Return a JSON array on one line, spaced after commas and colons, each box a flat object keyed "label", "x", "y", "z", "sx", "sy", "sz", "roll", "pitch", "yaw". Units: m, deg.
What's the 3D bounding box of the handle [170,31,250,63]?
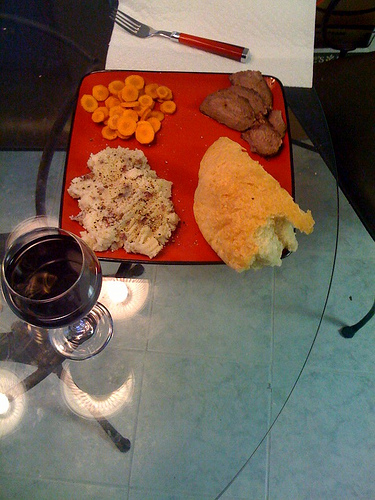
[{"label": "handle", "x": 0.064, "y": -0.601, "z": 1.289, "sx": 0.232, "sy": 0.046, "sz": 0.041, "roll": 14, "pitch": 88, "yaw": 5}]

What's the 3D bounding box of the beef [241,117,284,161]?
[{"label": "beef", "x": 0.213, "y": -0.304, "z": 1.207, "sx": 0.093, "sy": 0.029, "sz": 0.120, "roll": -36, "pitch": 81, "yaw": 18}]

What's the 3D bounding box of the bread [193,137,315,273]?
[{"label": "bread", "x": 0.137, "y": -0.124, "z": 1.173, "sx": 0.226, "sy": 0.194, "sz": 0.376, "roll": -35, "pitch": 59, "yaw": -23}]

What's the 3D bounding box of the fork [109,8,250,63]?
[{"label": "fork", "x": -0.033, "y": -0.632, "z": 1.288, "sx": 0.461, "sy": 0.063, "sz": 0.059, "roll": 15, "pitch": 85, "yaw": -3}]

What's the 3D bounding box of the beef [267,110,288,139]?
[{"label": "beef", "x": 0.257, "y": -0.348, "z": 1.212, "sx": 0.060, "sy": 0.017, "sz": 0.071, "roll": -12, "pitch": 84, "yaw": -2}]
